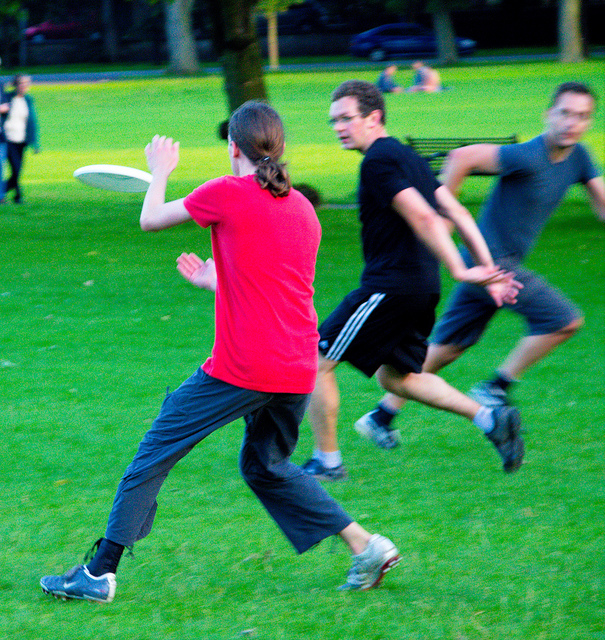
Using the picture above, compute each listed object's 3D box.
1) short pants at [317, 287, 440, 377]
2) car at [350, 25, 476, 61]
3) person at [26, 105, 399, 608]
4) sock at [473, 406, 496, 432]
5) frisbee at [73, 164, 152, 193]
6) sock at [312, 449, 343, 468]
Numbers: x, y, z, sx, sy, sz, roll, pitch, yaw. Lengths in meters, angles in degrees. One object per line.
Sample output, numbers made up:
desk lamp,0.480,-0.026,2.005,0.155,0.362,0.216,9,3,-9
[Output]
short pants,0.290,0.029,4.462,0.488,0.366,0.252,13,15,-40
car,3.995,-10.234,36.891,4.148,1.018,1.580,-4,12,1
person,-0.289,0.111,3.786,1.180,1.790,0.729,-4,14,-3
sock,0.788,0.425,4.360,0.102,0.106,0.075,-30,26,-33
frisbee,-0.808,-0.590,4.242,0.268,0.131,0.490,-6,12,-17
sock,0.115,0.633,4.594,0.117,0.064,0.082,0,-2,-14
